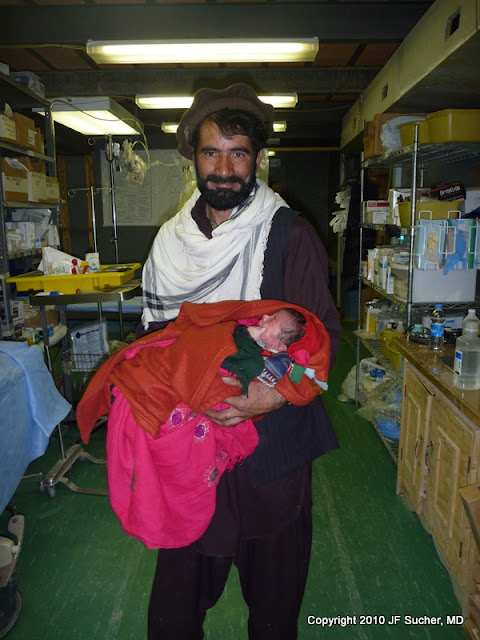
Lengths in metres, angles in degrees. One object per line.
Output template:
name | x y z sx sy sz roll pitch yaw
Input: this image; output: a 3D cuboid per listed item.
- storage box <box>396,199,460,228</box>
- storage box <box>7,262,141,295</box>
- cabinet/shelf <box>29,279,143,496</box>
storage box | 1.063 -0.588 2.506 0.272 0.102 0.182 1 8 5
storage box | -0.970 -0.235 2.685 0.727 0.135 0.311 -6 11 -25
cabinet/shelf | -1.008 0.349 2.983 0.631 1.203 1.182 -5 10 -19
